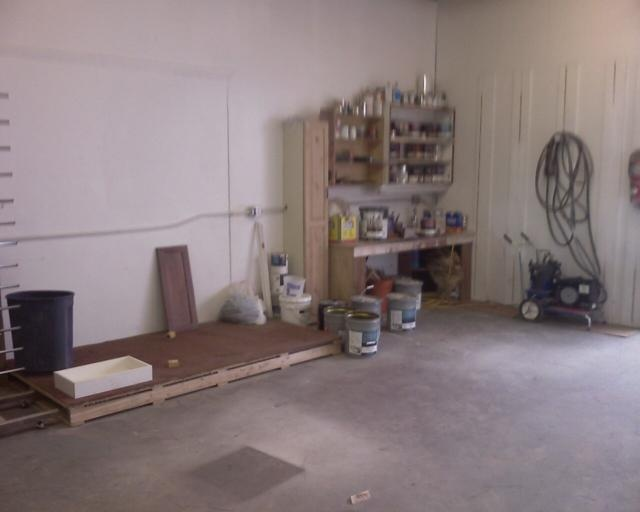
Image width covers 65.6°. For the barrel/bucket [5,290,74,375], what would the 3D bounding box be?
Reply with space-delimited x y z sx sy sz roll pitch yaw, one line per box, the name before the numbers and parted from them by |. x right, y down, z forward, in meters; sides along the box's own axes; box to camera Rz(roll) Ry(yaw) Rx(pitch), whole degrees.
barrel/bucket | -2.498 0.668 4.667 0.603 0.777 0.679 3 3 34

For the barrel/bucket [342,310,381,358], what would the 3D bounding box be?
barrel/bucket | 0.470 0.857 5.494 0.366 0.430 0.396 1 8 0

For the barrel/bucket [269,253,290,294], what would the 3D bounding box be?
barrel/bucket | -0.530 0.246 6.530 0.296 0.545 0.321 1 7 0

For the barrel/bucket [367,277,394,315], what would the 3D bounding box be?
barrel/bucket | 0.798 0.540 6.526 0.218 0.480 0.384 11 -12 -41

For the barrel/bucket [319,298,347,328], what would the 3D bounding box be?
barrel/bucket | 0.137 0.710 6.213 0.285 0.357 0.302 1 10 0

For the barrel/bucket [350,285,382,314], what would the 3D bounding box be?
barrel/bucket | 0.547 0.549 6.060 0.376 0.378 0.303 1 9 -3

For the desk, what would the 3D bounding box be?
desk | 1.033 0.347 7.042 1.742 0.849 0.423 13 -15 -27

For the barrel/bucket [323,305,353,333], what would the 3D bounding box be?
barrel/bucket | 0.209 0.706 5.844 0.269 0.304 0.268 0 9 0

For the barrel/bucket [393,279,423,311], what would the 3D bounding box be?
barrel/bucket | 1.243 0.469 6.826 0.458 0.542 0.481 4 -1 0

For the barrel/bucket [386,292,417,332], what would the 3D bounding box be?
barrel/bucket | 1.030 0.705 6.352 0.367 0.444 0.391 -1 14 0

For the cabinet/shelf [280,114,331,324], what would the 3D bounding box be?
cabinet/shelf | -0.128 -0.604 6.746 0.489 2.745 0.568 -9 40 -12

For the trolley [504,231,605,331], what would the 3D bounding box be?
trolley | 3.226 0.321 6.896 1.271 1.119 0.871 5 14 37

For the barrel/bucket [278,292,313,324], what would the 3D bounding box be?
barrel/bucket | -0.299 0.654 6.220 0.345 0.329 0.357 0 4 0

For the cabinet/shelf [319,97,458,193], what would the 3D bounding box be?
cabinet/shelf | 0.932 -1.650 7.281 1.540 0.976 0.415 -2 2 -30
